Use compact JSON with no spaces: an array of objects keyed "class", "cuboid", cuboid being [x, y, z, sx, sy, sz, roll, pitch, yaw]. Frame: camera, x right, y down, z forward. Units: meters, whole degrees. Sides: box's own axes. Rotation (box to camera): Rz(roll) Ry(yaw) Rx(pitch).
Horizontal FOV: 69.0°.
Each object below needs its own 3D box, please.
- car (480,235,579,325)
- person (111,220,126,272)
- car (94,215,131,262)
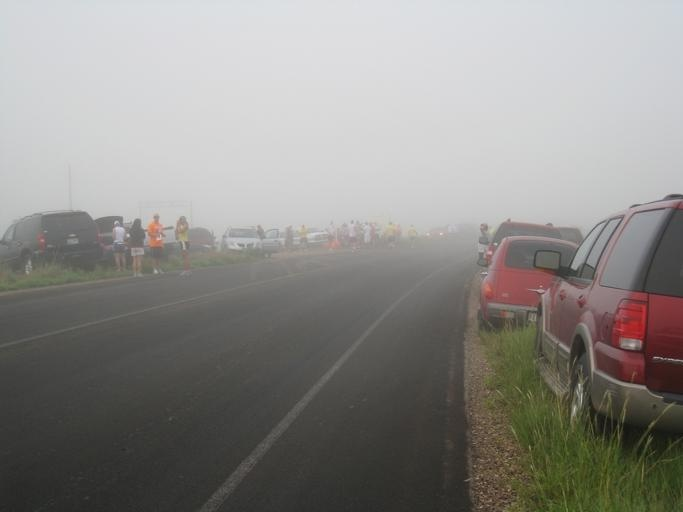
[{"class":"car","cuboid":[3.431,0.472,9.802,1.115,1.346,2.328,-1,8,3]},{"class":"person","cuboid":[-9.121,-0.430,20.377,0.465,1.949,1.286,-1,6,-25]},{"class":"car","cuboid":[-9.317,-0.630,20.103,0.906,1.946,1.784,1,-2,22]}]
